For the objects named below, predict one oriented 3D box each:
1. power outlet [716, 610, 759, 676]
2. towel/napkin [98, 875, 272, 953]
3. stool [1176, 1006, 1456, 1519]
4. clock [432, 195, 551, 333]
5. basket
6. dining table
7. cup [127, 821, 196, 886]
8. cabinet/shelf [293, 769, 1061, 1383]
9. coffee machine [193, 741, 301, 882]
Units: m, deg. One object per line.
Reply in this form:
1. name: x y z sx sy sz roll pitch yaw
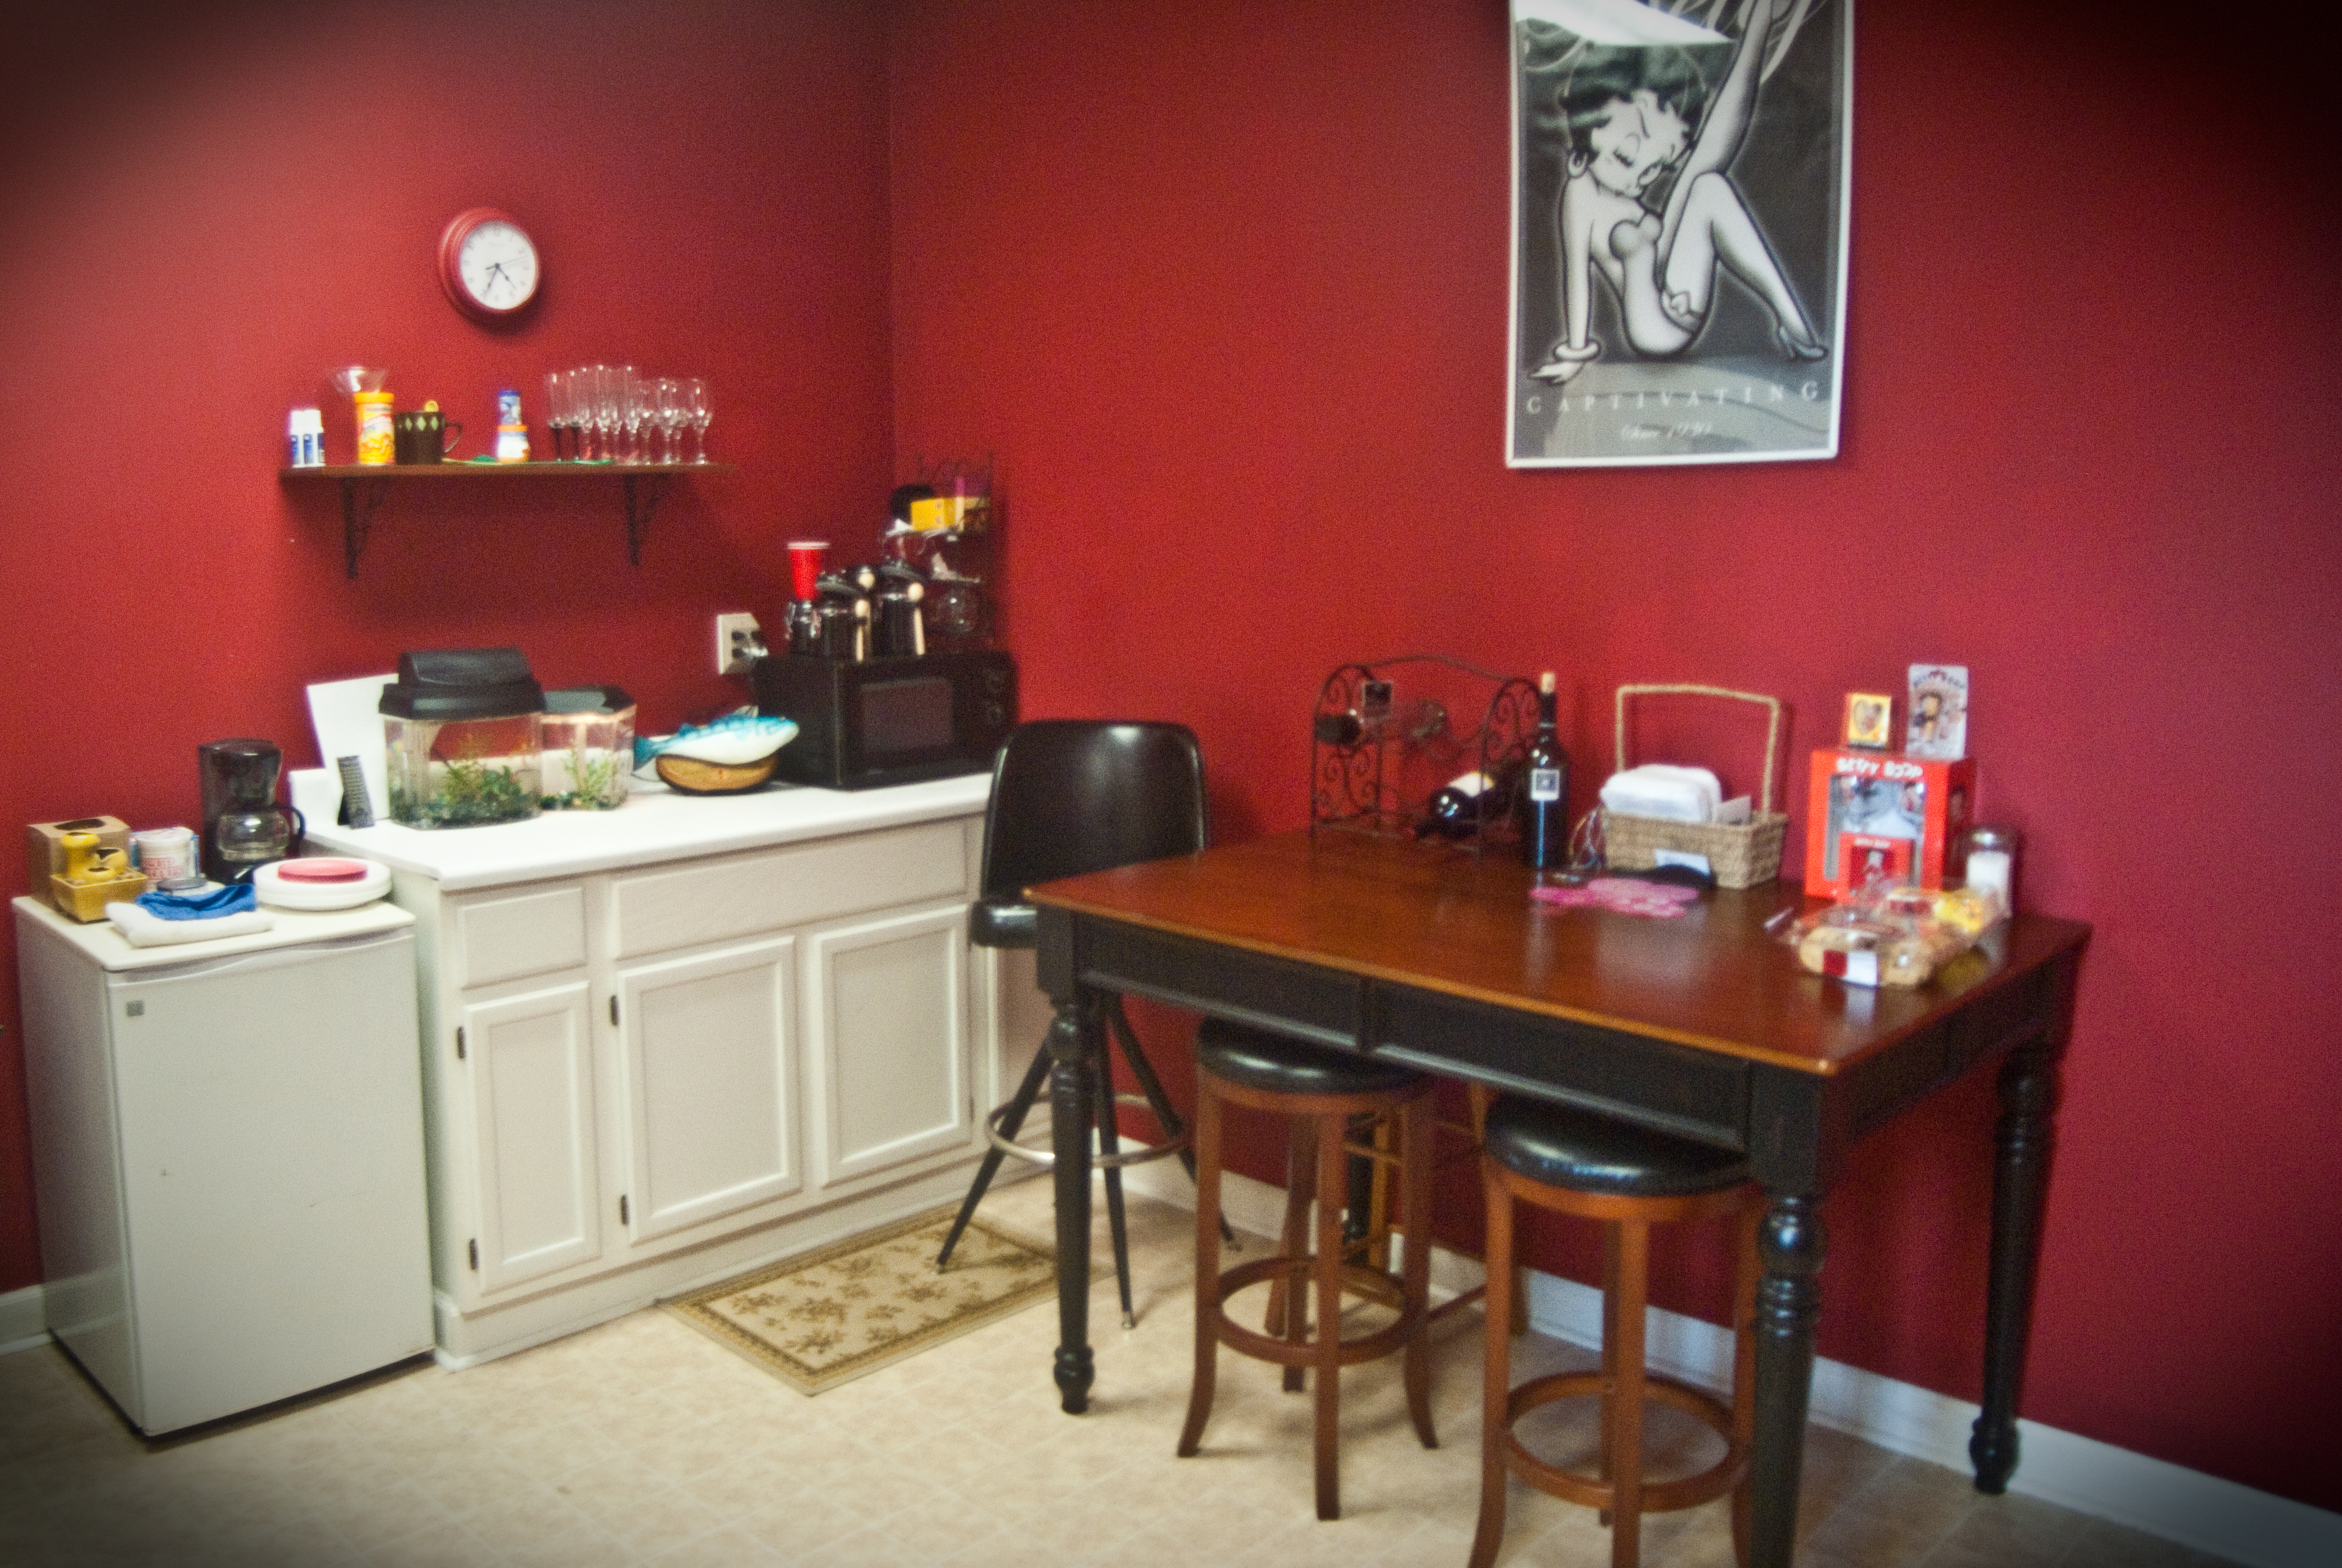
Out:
1. power outlet: -1.222 -0.404 5.303 0.039 0.163 0.167 7 8 35
2. towel/napkin: -2.179 0.271 4.186 0.304 0.100 0.332 -7 12 -30
3. stool: 0.309 0.974 4.070 0.519 0.925 0.482 6 9 35
4. clock: -1.743 -1.338 4.811 0.071 0.413 0.374 2 3 43
5. basket: 1.176 -0.005 4.109 0.500 0.542 0.327 2 6 34
6. dining table: 0.841 0.578 3.965 2.152 1.503 1.323 7 10 40
7. cup: -2.282 0.160 4.307 0.131 0.127 0.125 1 5 0
8. cabinet/shelf: -1.306 0.971 5.121 2.266 1.540 1.139 -6 9 -43
9. coffee machine: -2.182 0.048 4.470 0.226 0.305 0.284 -7 12 -28
